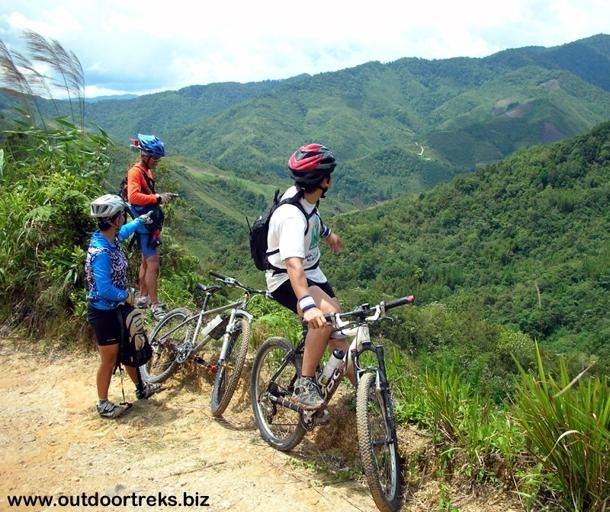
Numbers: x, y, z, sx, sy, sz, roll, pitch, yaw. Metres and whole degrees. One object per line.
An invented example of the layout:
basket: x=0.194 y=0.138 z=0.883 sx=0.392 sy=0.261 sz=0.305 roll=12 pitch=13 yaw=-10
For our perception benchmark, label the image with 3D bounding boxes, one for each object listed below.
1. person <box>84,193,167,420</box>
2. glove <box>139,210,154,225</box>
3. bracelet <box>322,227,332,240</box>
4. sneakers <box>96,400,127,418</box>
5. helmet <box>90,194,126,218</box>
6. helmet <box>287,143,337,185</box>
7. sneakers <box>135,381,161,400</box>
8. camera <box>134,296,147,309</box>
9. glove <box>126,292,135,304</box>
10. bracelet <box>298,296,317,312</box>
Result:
person: x=-2.111 y=0.555 z=5.532 sx=0.731 sy=2.451 sz=0.824 roll=-9 pitch=19 yaw=-43
glove: x=-2.045 y=-0.483 z=6.320 sx=0.094 sy=0.119 sz=0.279 roll=39 pitch=-1 yaw=-6
bracelet: x=0.220 y=-0.237 z=5.045 sx=0.078 sy=0.083 sz=0.103 roll=0 pitch=23 yaw=30
sneakers: x=-2.122 y=1.670 z=5.455 sx=0.396 sy=0.205 sz=0.147 roll=-3 pitch=12 yaw=-15
helmet: x=-2.097 y=-0.517 z=5.233 sx=0.360 sy=0.233 sz=0.231 roll=-4 pitch=18 yaw=-34
helmet: x=0.056 y=-0.816 z=4.363 sx=0.311 sy=0.248 sz=0.410 roll=18 pitch=31 yaw=24
sneakers: x=-1.877 y=1.593 z=5.893 sx=0.384 sy=0.186 sz=0.135 roll=-10 pitch=18 yaw=-43
camera: x=-1.977 y=0.570 z=5.857 sx=0.143 sy=0.209 sz=0.208 roll=-2 pitch=-19 yaw=-19
glove: x=-1.909 y=0.465 z=5.356 sx=0.080 sy=0.112 sz=0.101 roll=-9 pitch=62 yaw=-17
bracelet: x=0.021 y=0.388 z=3.965 sx=0.119 sy=0.118 sz=0.108 roll=-12 pitch=23 yaw=39
